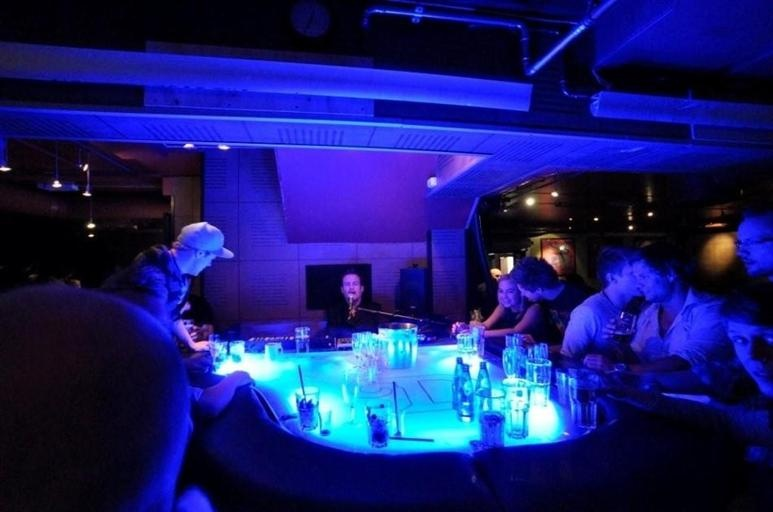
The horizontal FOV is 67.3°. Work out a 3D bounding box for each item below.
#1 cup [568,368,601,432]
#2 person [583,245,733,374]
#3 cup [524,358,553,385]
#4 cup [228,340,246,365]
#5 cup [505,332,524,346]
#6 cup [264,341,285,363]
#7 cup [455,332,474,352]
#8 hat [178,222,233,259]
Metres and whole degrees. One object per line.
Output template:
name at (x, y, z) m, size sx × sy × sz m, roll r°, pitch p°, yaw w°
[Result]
cup at (1.280, 0.924, 3.754) m, size 0.285 × 0.336 × 0.272 m, roll 0°, pitch 2°, yaw 0°
person at (2.152, 0.400, 4.557) m, size 0.493 × 0.951 × 0.816 m, roll 1°, pitch -4°, yaw -17°
cup at (1.036, 0.793, 3.979) m, size 0.179 × 0.171 × 0.161 m, roll -2°, pitch -3°, yaw 7°
cup at (-1.163, 0.787, 4.677) m, size 0.151 × 0.236 × 0.153 m, roll -2°, pitch -5°, yaw 0°
cup at (0.982, 0.647, 4.480) m, size 0.117 × 0.111 × 0.117 m, roll -2°, pitch -4°, yaw 0°
cup at (-0.910, 0.789, 4.737) m, size 0.104 × 0.137 × 0.162 m, roll 0°, pitch -5°, yaw -4°
cup at (0.594, 0.690, 4.570) m, size 0.119 × 0.138 × 0.146 m, roll 0°, pitch -8°, yaw -6°
hat at (-1.520, -0.147, 5.033) m, size 0.425 × 0.234 × 0.281 m, roll -15°, pitch -1°, yaw 2°
